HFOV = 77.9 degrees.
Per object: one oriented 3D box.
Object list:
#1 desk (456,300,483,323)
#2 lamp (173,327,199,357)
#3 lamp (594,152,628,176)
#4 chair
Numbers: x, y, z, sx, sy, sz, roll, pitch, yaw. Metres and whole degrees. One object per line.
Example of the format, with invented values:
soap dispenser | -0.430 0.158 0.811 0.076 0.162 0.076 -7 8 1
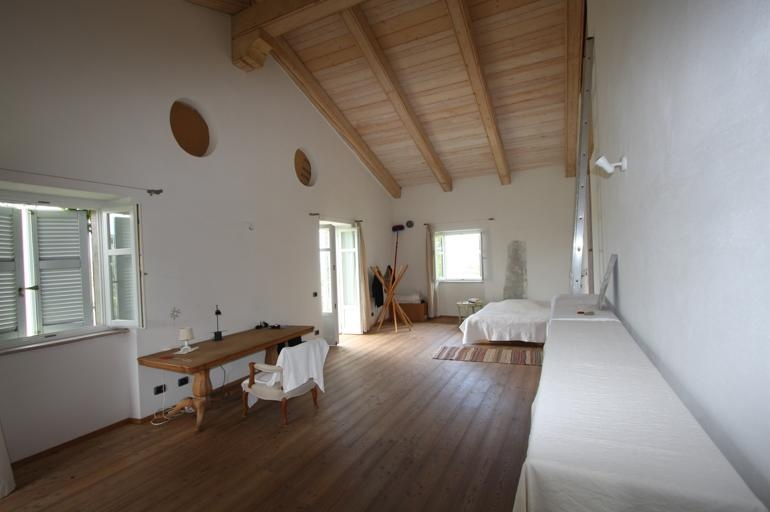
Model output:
desk | 1.691 1.070 9.859 0.429 0.404 0.525 2 5 44
lamp | -2.163 0.915 5.271 0.284 0.284 0.260 -5 10 -30
lamp | 1.898 -0.801 4.101 0.238 0.220 0.318 -18 17 -40
chair | -1.099 1.293 5.261 0.895 0.811 0.727 1 5 28
